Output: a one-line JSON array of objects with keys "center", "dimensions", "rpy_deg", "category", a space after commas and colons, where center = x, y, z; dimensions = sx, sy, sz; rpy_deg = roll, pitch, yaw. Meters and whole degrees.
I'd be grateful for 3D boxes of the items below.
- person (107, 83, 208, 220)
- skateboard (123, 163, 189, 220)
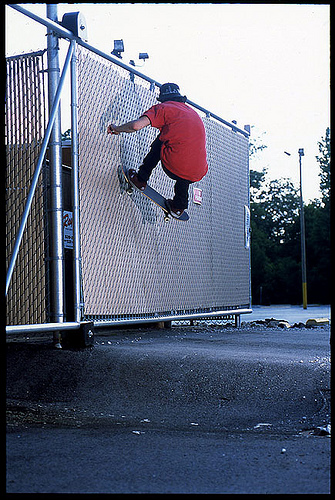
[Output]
[{"center": [0.006, -1.130, 8.732], "dimensions": [0.920, 1.493, 1.299], "rpy_deg": [11, -5, 33], "category": "person"}, {"center": [-0.101, -0.569, 8.334], "dimensions": [0.145, 0.257, 1.044], "rpy_deg": [-18, -31, 25], "category": "skateboard"}]
